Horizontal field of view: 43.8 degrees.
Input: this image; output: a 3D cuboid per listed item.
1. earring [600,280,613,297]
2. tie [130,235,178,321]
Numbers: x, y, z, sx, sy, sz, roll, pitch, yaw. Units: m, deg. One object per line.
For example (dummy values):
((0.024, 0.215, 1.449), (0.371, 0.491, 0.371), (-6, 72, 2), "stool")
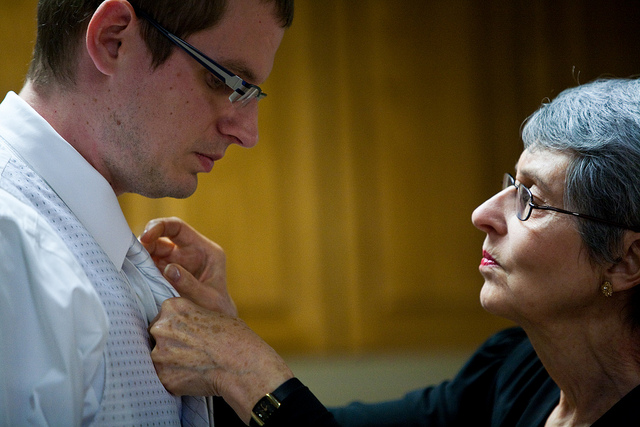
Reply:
((0.823, 0.215, 2.273), (0.034, 0.036, 0.010), (11, 14, 22), "earring")
((-0.497, 0.197, 2.342), (0.104, 0.268, 0.038), (-32, -25, 4), "tie")
